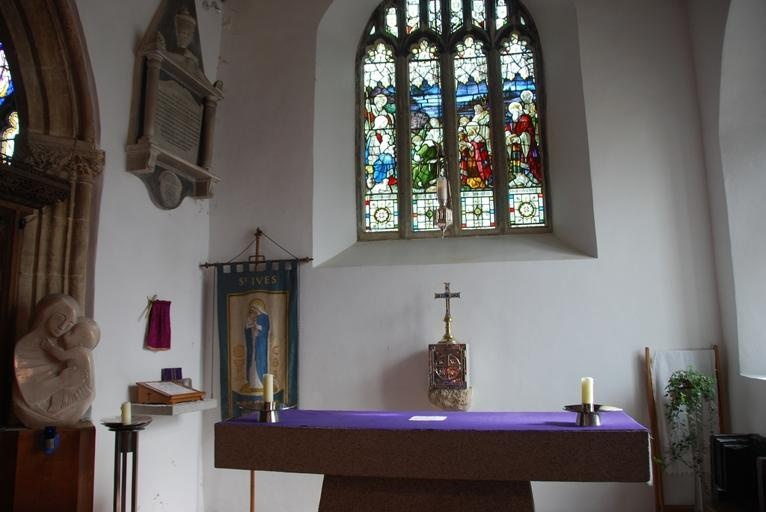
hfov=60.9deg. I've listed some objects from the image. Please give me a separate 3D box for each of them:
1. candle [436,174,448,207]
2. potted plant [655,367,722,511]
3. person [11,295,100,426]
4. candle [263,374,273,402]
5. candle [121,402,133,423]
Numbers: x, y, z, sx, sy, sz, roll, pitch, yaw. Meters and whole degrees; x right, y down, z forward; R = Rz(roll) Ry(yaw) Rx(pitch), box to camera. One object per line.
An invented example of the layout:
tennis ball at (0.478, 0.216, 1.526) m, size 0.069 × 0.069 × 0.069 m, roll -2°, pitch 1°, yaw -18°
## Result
candle at (0.676, -0.742, 7.390) m, size 0.124 × 0.375 × 0.341 m, roll -4°, pitch -10°, yaw 5°
potted plant at (3.652, 2.181, 7.708) m, size 0.660 × 1.669 × 0.472 m, roll -8°, pitch -10°, yaw 27°
person at (-3.232, 1.032, 6.444) m, size 0.756 × 1.297 × 0.285 m, roll 2°, pitch -10°, yaw -27°
candle at (-1.012, 1.173, 5.725) m, size 0.075 × 0.248 × 0.247 m, roll -1°, pitch -10°, yaw -14°
candle at (-2.425, 1.494, 6.149) m, size 0.076 × 0.197 × 0.043 m, roll -1°, pitch -9°, yaw -11°
